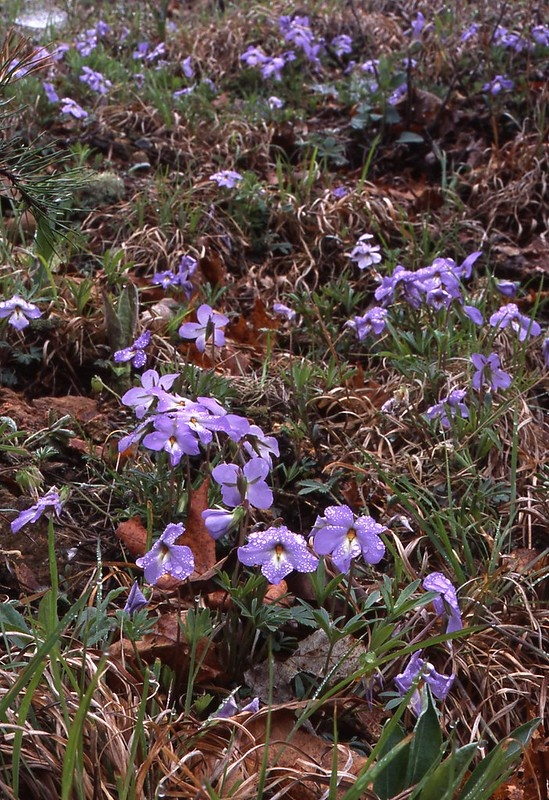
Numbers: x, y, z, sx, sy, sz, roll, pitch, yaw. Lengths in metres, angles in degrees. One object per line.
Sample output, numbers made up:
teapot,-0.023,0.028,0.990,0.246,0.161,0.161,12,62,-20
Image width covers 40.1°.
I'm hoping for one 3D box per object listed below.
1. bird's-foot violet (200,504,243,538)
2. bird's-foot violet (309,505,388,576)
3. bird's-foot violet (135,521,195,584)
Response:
bird's-foot violet,-0.099,0.233,1.482,0.073,0.032,0.071,-11,11,17
bird's-foot violet,0.142,0.266,1.449,0.130,0.153,0.105,10,31,4
bird's-foot violet,-0.199,0.292,1.401,0.113,0.124,0.110,-4,11,-8
